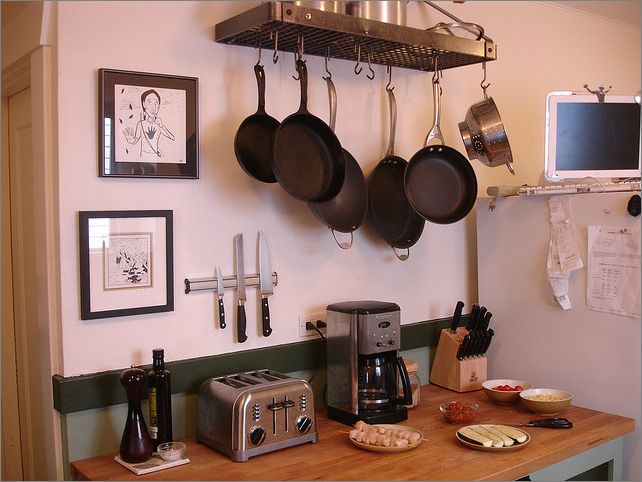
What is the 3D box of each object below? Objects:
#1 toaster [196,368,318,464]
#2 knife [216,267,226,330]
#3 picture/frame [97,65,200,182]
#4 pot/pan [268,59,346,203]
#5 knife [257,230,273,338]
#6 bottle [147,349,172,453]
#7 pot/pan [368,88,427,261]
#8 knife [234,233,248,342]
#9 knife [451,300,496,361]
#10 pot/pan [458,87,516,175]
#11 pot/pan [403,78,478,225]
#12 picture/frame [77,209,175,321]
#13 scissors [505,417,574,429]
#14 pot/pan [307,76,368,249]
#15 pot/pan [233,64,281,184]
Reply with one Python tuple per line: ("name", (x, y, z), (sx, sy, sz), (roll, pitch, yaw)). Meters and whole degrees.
("toaster", (-0.230, 0.623, 1.949), (0.346, 0.233, 0.321), (1, -1, -42))
("knife", (-0.378, 0.219, 2.023), (0.034, 0.230, 0.064), (-3, 12, -27))
("picture/frame", (-0.624, -0.413, 1.887), (0.407, 0.467, 0.029), (1, -2, -34))
("pot/pan", (-0.050, -0.360, 2.038), (0.076, 0.536, 0.306), (-11, -6, 41))
("knife", (-0.217, 0.173, 2.109), (0.063, 0.416, 0.095), (1, 11, -7))
("bottle", (-0.555, 0.543, 1.851), (0.080, 0.357, 0.161), (-1, 11, -17))
("pot/pan", (0.309, -0.280, 2.360), (0.092, 0.681, 0.306), (-7, -4, 40))
("knife", (-0.292, 0.176, 2.036), (0.042, 0.402, 0.019), (-1, -3, -12))
("knife", (0.721, 0.410, 2.470), (0.260, 0.282, 0.119), (-4, 12, -30))
("pot/pan", (0.756, -0.511, 2.469), (0.213, 0.350, 0.430), (-13, -11, 12))
("pot/pan", (0.511, -0.314, 2.304), (0.320, 0.657, 0.093), (-5, 1, -33))
("picture/frame", (-0.693, 0.080, 1.862), (0.364, 0.466, 0.032), (-2, 1, -36))
("scissors", (0.847, 0.693, 2.042), (0.176, 0.029, 0.089), (-3, 6, -5))
("pot/pan", (0.093, -0.302, 2.212), (0.093, 0.628, 0.308), (-10, -7, 34))
("pot/pan", (-0.238, -0.430, 2.004), (0.132, 0.439, 0.231), (5, 11, 12))
